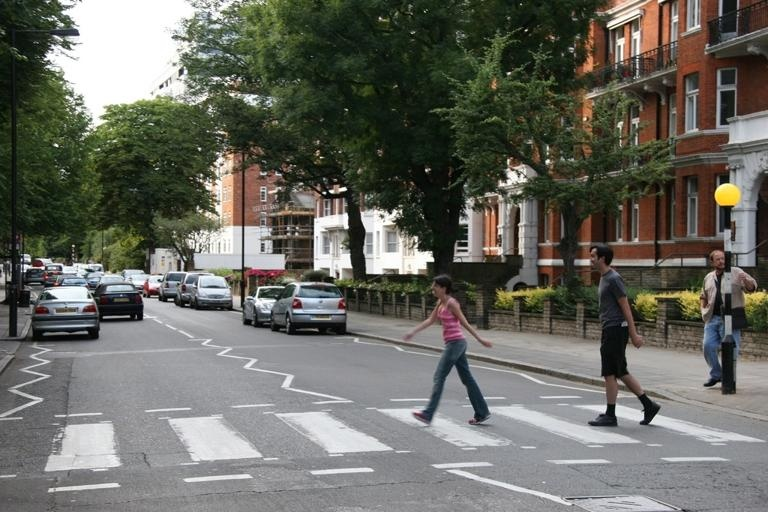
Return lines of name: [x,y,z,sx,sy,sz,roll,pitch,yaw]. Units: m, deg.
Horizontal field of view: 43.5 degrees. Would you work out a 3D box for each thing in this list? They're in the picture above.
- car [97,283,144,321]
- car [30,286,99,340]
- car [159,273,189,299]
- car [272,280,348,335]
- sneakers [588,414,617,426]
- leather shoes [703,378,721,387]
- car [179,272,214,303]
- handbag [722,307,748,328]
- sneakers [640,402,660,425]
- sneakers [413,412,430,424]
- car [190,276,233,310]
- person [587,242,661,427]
car: [-11.327,1.901,41.165,1.827,1.639,2.226,-1,-3,6]
car: [-10.594,1.897,31.963,2.047,1.700,0.958,1,-3,-17]
car: [-13.503,1.828,61.131,1.245,0.970,2.516,0,4,-15]
car: [-2.837,1.755,34.571,1.589,1.085,2.658,1,1,-17]
sneakers: [4.027,3.016,17.705,0.627,0.209,0.195,2,-5,0]
leather shoes: [7.125,2.728,20.796,0.477,0.168,0.149,-2,2,-14]
car: [-10.914,1.784,54.072,1.516,1.183,2.363,0,4,-8]
handbag: [7.342,1.287,20.197,0.549,0.451,0.283,0,-6,-16]
sneakers: [4.906,2.934,17.848,0.300,0.199,0.562,12,-45,-6]
sneakers: [0.696,2.981,17.757,0.368,0.134,0.133,27,11,36]
car: [-9.176,1.905,51.310,1.924,1.831,1.721,0,-3,-16]
person: [4.410,1.463,17.935,1.150,3.328,1.335,-1,-2,15]
